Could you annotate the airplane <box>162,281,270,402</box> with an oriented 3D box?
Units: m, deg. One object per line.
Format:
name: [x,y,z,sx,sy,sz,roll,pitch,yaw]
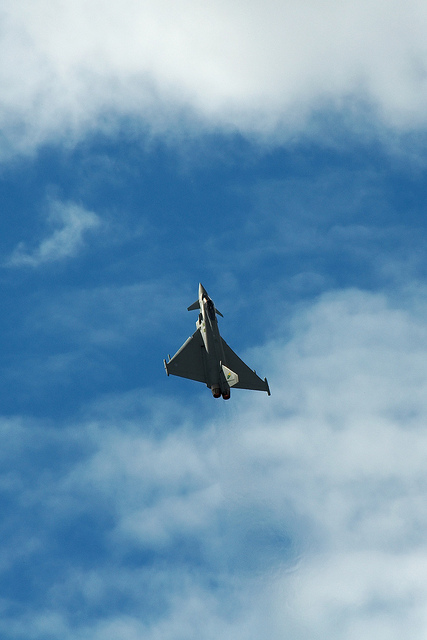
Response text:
airplane: [0.217,2.432,70.173,10.570,12.138,3.292,10,-28,-31]
